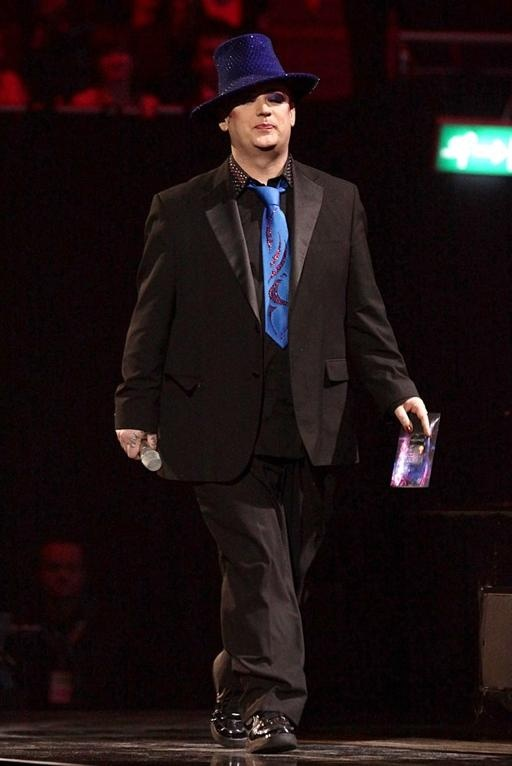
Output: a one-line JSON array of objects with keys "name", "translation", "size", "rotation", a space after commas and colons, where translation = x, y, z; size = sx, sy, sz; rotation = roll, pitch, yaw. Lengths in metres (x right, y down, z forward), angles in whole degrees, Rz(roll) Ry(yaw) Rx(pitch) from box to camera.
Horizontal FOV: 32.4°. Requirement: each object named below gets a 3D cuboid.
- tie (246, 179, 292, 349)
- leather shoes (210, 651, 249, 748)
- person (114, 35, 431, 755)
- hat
[{"name": "tie", "translation": [0.033, -0.285, 2.077], "size": [0.091, 0.407, 0.135], "rotation": [-1, 2, -4]}, {"name": "leather shoes", "translation": [-0.084, 0.785, 2.150], "size": [0.089, 0.105, 0.260], "rotation": [1, 4, -4]}, {"name": "person", "translation": [0.019, -0.062, 2.087], "size": [0.641, 1.641, 0.573], "rotation": [-2, 2, -32]}, {"name": "hat", "translation": [-0.016, -0.753, 2.205], "size": [0.269, 0.128, 0.253], "rotation": [-17, -4, -7]}]
